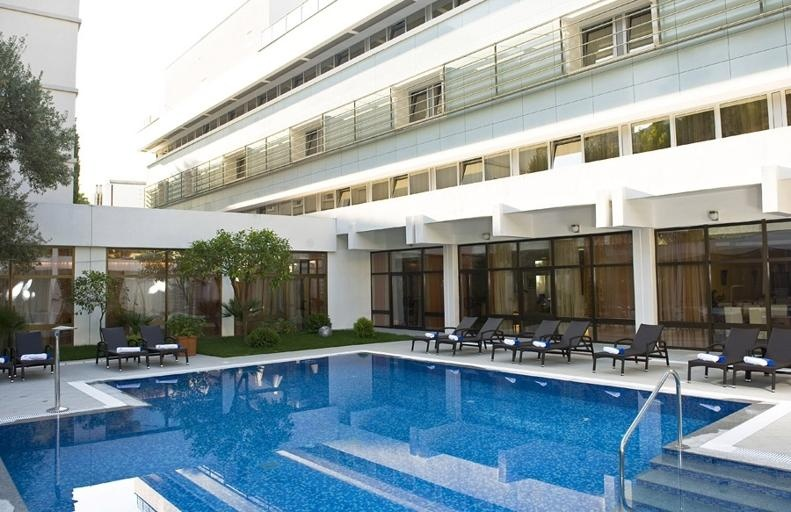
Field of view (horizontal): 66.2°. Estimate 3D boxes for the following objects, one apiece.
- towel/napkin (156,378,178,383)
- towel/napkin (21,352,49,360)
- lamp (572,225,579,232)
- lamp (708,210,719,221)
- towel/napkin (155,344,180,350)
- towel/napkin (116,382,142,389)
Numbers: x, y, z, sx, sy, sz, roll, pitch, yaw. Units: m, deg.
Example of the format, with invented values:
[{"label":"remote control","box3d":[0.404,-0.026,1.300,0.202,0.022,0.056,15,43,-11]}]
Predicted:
[{"label":"towel/napkin","box3d":[-6.141,3.400,16.440,0.572,0.060,0.425,-2,-3,0]},{"label":"towel/napkin","box3d":[-9.890,2.802,16.805,0.562,0.156,0.777,-3,-4,17]},{"label":"lamp","box3d":[6.135,-0.931,20.712,0.259,0.263,0.165,-3,-3,18]},{"label":"lamp","box3d":[9.559,-1.212,18.275,0.229,0.354,0.211,-1,-3,-24]},{"label":"towel/napkin","box3d":[-6.855,2.758,18.325,0.653,0.144,0.355,-1,-4,-19]},{"label":"towel/napkin","box3d":[-6.962,3.403,15.985,0.542,0.084,0.751,0,-4,-24]}]
